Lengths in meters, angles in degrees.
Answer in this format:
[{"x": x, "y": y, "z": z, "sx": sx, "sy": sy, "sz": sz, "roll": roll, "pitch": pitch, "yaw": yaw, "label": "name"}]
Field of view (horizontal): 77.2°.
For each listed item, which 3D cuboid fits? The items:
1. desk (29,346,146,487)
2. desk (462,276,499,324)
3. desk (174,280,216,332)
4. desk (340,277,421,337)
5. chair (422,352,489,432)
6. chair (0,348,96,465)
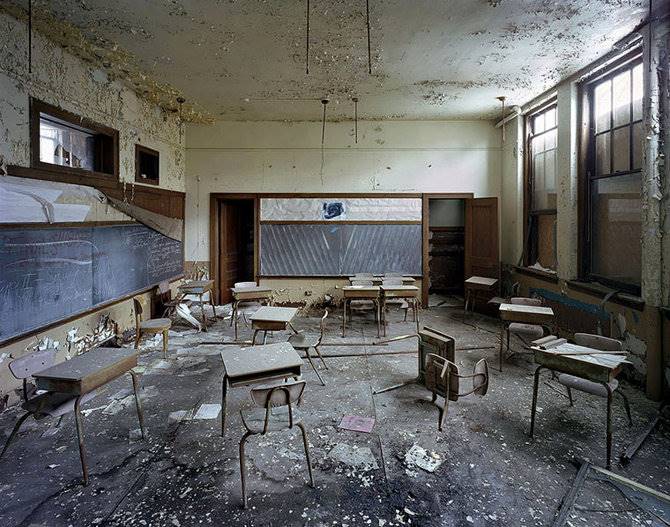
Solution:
[{"x": -2.205, "y": 1.115, "z": 4.033, "sx": 0.865, "sy": 1.193, "sz": 1.139, "roll": 3, "pitch": 4, "yaw": 12, "label": "desk"}, {"x": 2.578, "y": 0.609, "z": 7.663, "sx": 0.807, "sy": 1.170, "sz": 0.661, "roll": -1, "pitch": 6, "yaw": 16, "label": "desk"}, {"x": -2.426, "y": 0.621, "z": 7.305, "sx": 0.680, "sy": 0.931, "sz": 0.897, "roll": -1, "pitch": 3, "yaw": 4, "label": "desk"}, {"x": 0.649, "y": 0.630, "z": 7.063, "sx": 0.929, "sy": 0.693, "sz": 1.050, "roll": -1, "pitch": -3, "yaw": -1, "label": "desk"}, {"x": 1.284, "y": 1.233, "z": 4.496, "sx": 0.828, "sy": 0.652, "sz": 0.620, "roll": -4, "pitch": 10, "yaw": -22, "label": "chair"}, {"x": -2.650, "y": 1.357, "z": 3.893, "sx": 0.592, "sy": 0.770, "sz": 0.771, "roll": 13, "pitch": -1, "yaw": -3, "label": "chair"}]
